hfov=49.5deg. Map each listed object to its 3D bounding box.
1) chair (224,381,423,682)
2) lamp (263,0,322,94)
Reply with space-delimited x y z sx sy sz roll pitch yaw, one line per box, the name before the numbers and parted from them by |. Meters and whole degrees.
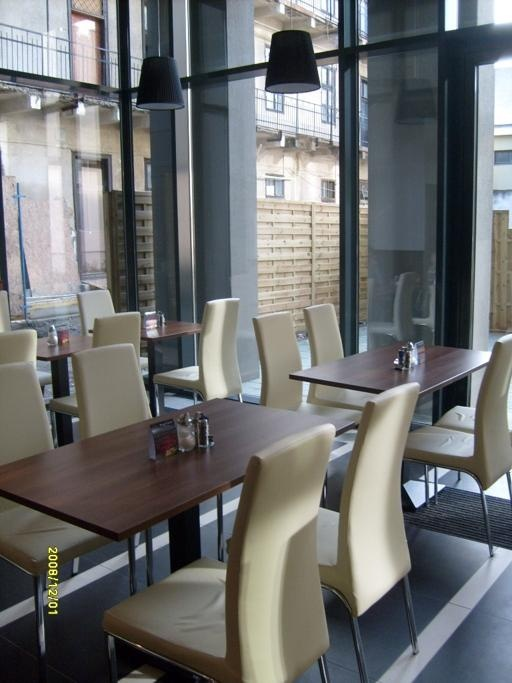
chair | 0.277 0.373 1.837 0.619 1.169 0.540 6 13 35
lamp | 0.155 -1.521 2.984 0.337 0.394 0.345 -10 12 -42
